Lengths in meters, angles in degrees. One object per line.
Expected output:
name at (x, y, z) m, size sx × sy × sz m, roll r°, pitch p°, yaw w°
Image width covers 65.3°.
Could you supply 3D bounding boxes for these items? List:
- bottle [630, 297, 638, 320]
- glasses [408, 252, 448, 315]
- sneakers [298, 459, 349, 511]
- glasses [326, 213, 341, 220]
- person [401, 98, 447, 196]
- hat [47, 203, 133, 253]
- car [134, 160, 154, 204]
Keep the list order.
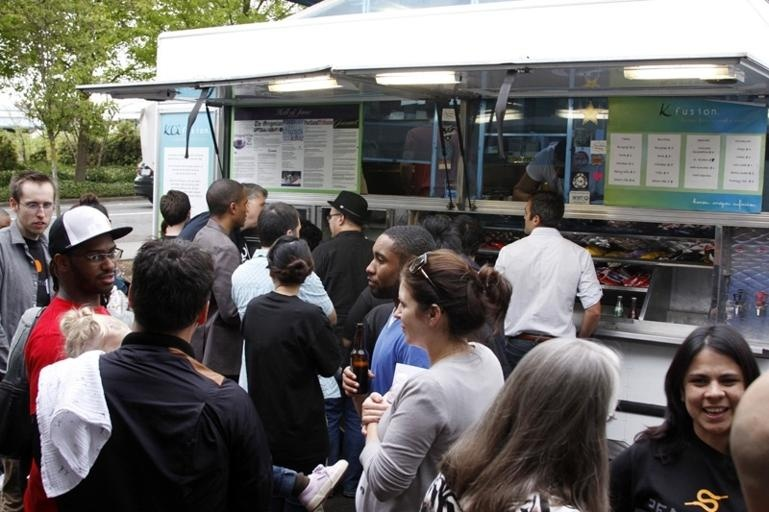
bottle at (2.392, 0.491, 5.739) m, size 0.076 × 0.175 × 0.272 m, roll 3°, pitch 5°, yaw 23°
glasses at (0.201, 0.128, 2.764) m, size 0.064 × 0.210 × 0.202 m, roll -38°, pitch 11°, yaw -2°
sneakers at (-0.397, 1.414, 3.853) m, size 0.137 × 0.176 × 0.416 m, roll -18°, pitch 23°, yaw 51°
glasses at (-0.487, -0.385, 5.814) m, size 0.174 × 0.047 × 0.169 m, roll 2°, pitch 1°, yaw 5°
person at (0.450, -1.179, 6.685) m, size 0.531 × 0.997 × 0.129 m, roll 4°, pitch 6°, yaw 34°
hat at (-1.617, -0.134, 3.245) m, size 0.361 × 0.183 × 0.245 m, roll -23°, pitch 5°, yaw 6°
car at (-9.273, -2.923, 23.102) m, size 0.662 × 1.541 × 4.999 m, roll -1°, pitch 5°, yaw -22°
